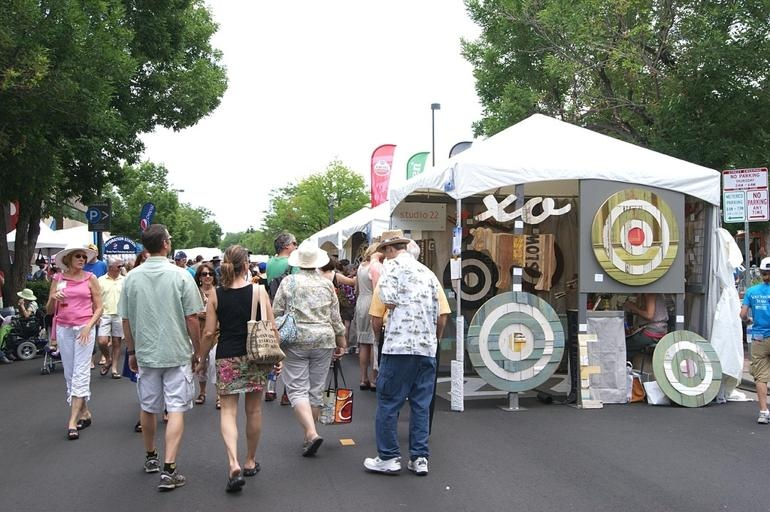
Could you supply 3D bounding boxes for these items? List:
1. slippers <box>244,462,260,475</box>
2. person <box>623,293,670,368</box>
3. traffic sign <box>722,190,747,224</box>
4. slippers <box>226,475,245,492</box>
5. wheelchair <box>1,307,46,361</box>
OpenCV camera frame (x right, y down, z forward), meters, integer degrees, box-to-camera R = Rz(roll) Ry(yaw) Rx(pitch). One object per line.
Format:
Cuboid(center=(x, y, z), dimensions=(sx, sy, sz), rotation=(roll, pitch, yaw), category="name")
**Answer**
Cuboid(center=(-1.831, 2.930, 10.933), dimensions=(0.108, 0.110, 0.248), rotation=(1, 1, 8), category="slippers")
Cuboid(center=(4.807, 1.283, 14.629), dimensions=(0.627, 1.529, 0.717), rotation=(1, -1, 18), category="person")
Cuboid(center=(7.441, -1.046, 16.832), dimensions=(0.370, 0.681, 0.756), rotation=(-4, 9, -23), category="traffic sign")
Cuboid(center=(-1.966, 2.965, 10.417), dimensions=(0.237, 0.253, 0.181), rotation=(-2, 8, -12), category="slippers")
Cuboid(center=(-8.324, 1.882, 18.375), dimensions=(1.203, 1.124, 0.844), rotation=(3, -8, -23), category="wheelchair")
